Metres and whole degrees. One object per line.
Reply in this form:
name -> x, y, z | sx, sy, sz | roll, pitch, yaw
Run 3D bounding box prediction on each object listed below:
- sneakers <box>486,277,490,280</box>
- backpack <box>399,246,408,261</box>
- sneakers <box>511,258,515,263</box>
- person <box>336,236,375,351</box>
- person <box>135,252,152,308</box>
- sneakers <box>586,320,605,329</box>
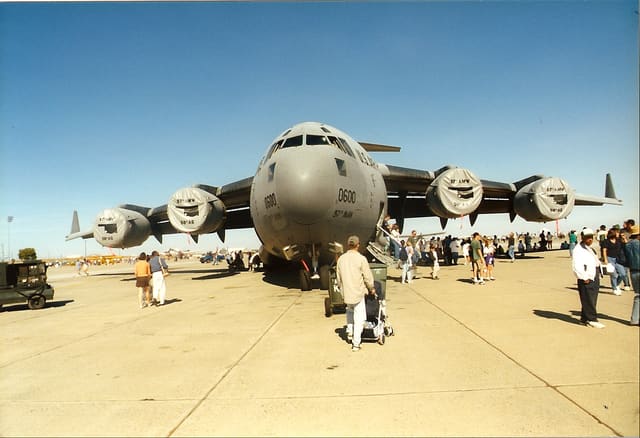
sneakers -> 6.179, 2.187, 15.451 | 0.149, 0.096, 0.328 | 2, 13, 21
backpack -> 3.095, 1.308, 15.659 | 0.302, 0.618, 0.280 | 7, 15, 39
sneakers -> 10.420, 2.238, 22.740 | 0.125, 0.424, 0.164 | -4, 0, -4
person -> 0.791, 1.604, 8.970 | 0.706, 2.237, 1.011 | -4, 12, -9
person -> -5.611, 1.941, 13.453 | 0.463, 1.680, 0.972 | -8, 13, -24
sneakers -> 6.058, 2.317, 9.299 | 0.360, 0.166, 0.147 | -1, 4, 16
